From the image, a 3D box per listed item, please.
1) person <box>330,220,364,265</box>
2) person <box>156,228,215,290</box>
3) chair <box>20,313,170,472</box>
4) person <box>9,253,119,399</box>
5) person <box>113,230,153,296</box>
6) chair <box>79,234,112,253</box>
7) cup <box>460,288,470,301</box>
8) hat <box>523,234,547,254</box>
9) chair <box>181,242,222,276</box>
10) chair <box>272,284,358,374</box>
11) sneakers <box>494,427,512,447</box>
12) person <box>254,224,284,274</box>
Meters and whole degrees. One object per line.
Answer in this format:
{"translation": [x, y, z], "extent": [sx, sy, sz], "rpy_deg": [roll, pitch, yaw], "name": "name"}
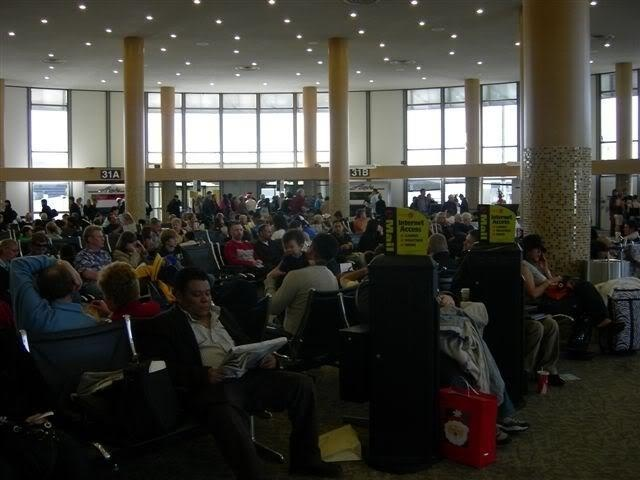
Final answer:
{"translation": [0.466, 0.116, 9.690], "extent": [0.419, 0.944, 0.562], "rpy_deg": [-20, 17, -20], "name": "person"}
{"translation": [-1.715, 0.215, 6.543], "extent": [0.581, 0.747, 0.546], "rpy_deg": [-4, 19, 8], "name": "person"}
{"translation": [-1.197, 0.797, 2.843], "extent": [0.705, 0.697, 0.554], "rpy_deg": [-6, 6, -33], "name": "chair"}
{"translation": [-1.545, 0.527, 3.134], "extent": [0.345, 0.850, 0.479], "rpy_deg": [-10, 46, 2], "name": "person"}
{"translation": [-2.590, 0.441, 7.265], "extent": [0.575, 1.111, 0.430], "rpy_deg": [8, 13, 16], "name": "person"}
{"translation": [-3.272, 0.058, 7.571], "extent": [0.285, 0.418, 0.243], "rpy_deg": [-4, 8, -13], "name": "chair"}
{"translation": [1.226, 0.460, 4.447], "extent": [0.085, 0.126, 0.096], "rpy_deg": [1, -1, 15], "name": "cup"}
{"translation": [2.361, 0.019, 5.734], "extent": [0.315, 0.179, 0.231], "rpy_deg": [-5, 8, -22], "name": "hat"}
{"translation": [-1.681, 0.261, 7.353], "extent": [0.474, 0.612, 0.431], "rpy_deg": [-11, -4, 40], "name": "chair"}
{"translation": [0.064, 0.803, 4.954], "extent": [0.687, 0.926, 0.725], "rpy_deg": [0, -3, -38], "name": "chair"}
{"translation": [1.339, 1.397, 3.730], "extent": [0.193, 0.088, 0.074], "rpy_deg": [-4, -4, 25], "name": "sneakers"}
{"translation": [-0.830, 0.135, 9.211], "extent": [0.713, 0.856, 0.511], "rpy_deg": [-1, 5, 14], "name": "person"}
